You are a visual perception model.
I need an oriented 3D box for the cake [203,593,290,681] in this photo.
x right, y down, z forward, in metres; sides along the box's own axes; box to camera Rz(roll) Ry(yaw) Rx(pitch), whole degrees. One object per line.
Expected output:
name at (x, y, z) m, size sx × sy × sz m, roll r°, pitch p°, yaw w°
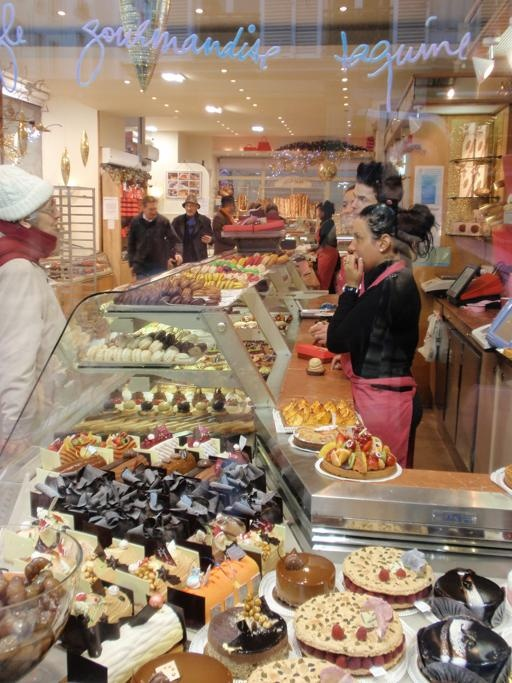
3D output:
cake at (-0.013, 0.505, 0.877) m, size 0.115 × 0.062 × 0.109 m, roll 2°, pitch 10°, yaw 13°

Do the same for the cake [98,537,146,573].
cake at (-0.294, 0.458, 1.103) m, size 0.062 × 0.020 × 0.058 m, roll 6°, pitch 19°, yaw 10°

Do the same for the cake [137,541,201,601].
cake at (-0.184, 0.476, 1.059) m, size 0.085 × 0.038 × 0.095 m, roll 7°, pitch 5°, yaw 20°

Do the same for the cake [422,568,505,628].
cake at (0.411, 0.485, 0.984) m, size 0.093 × 0.049 × 0.090 m, roll -8°, pitch 15°, yaw -34°

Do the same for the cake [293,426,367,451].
cake at (0.207, 0.297, 1.580) m, size 0.128 × 0.027 × 0.128 m, roll 0°, pitch 4°, yaw 35°

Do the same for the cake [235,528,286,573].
cake at (0.011, 0.470, 1.176) m, size 0.096 × 0.053 × 0.093 m, roll 6°, pitch 10°, yaw 24°

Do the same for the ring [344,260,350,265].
ring at (0.380, -0.333, 2.137) m, size 0.015 × 0.019 × 0.020 m, roll 1°, pitch 3°, yaw 12°

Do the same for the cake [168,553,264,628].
cake at (-0.089, 0.451, 1.020) m, size 0.099 × 0.080 × 0.205 m, roll 1°, pitch 6°, yaw 19°

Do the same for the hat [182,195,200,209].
hat at (-0.424, -0.916, 3.345) m, size 0.090 × 0.044 × 0.090 m, roll 2°, pitch 0°, yaw 11°

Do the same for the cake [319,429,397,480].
cake at (0.282, 0.327, 1.459) m, size 0.242 × 0.101 × 0.230 m, roll 2°, pitch 7°, yaw 14°
